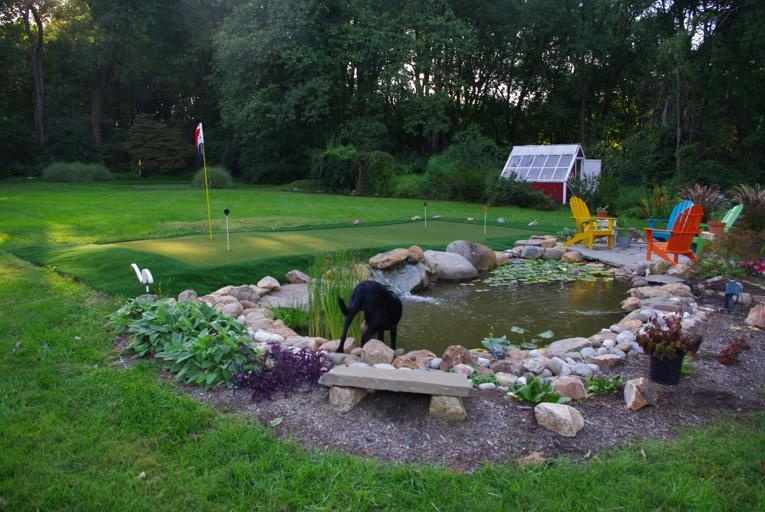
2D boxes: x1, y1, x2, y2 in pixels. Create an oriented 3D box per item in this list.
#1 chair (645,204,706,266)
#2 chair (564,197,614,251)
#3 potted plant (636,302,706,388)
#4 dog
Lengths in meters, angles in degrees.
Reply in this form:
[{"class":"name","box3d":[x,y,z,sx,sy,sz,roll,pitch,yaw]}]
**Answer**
[{"class":"chair","box3d":[6.116,-0.400,11.738,0.879,1.313,1.185,3,5,-9]},{"class":"chair","box3d":[5.272,-0.846,14.299,1.190,1.286,1.329,1,6,4]},{"class":"potted plant","box3d":[3.682,1.183,7.289,0.642,0.884,0.484,2,9,-9]},{"class":"dog","box3d":[-0.173,0.907,8.235,1.033,1.076,0.533,1,9,-20]}]
